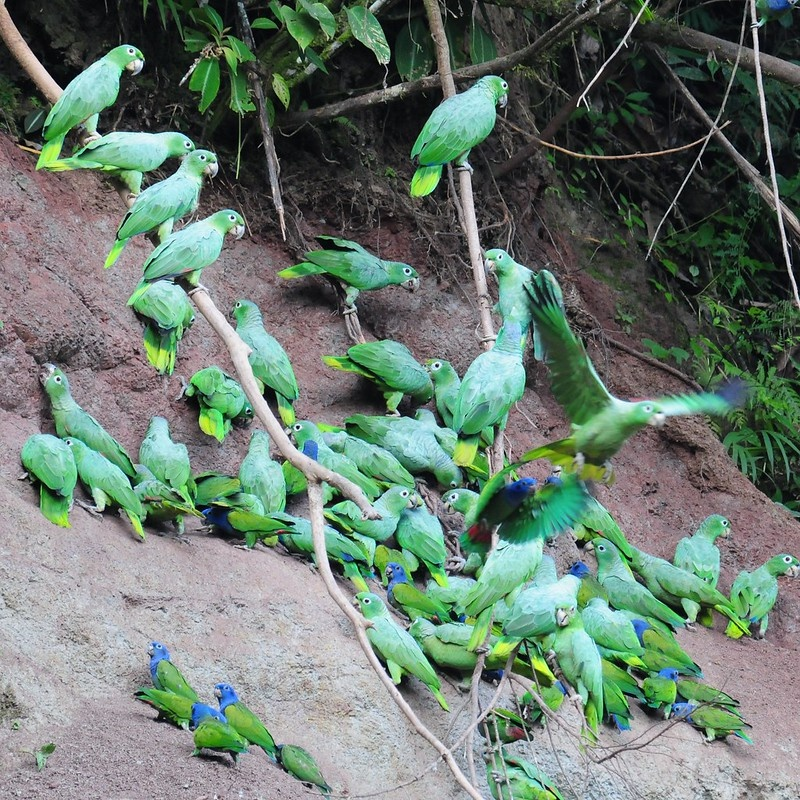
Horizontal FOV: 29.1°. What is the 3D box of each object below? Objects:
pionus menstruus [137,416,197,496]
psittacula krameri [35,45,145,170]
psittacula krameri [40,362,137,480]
[{"bbox_3d":[-1.407,0.329,9.242,0.309,0.451,0.307,-6,16,-14],"label":"pionus menstruus"},{"bbox_3d":[-1.697,-1.605,8.369,0.534,0.734,0.230,0,13,-30],"label":"psittacula krameri"},{"bbox_3d":[-1.819,0.096,9.125,0.476,0.717,0.550,1,14,11],"label":"psittacula krameri"}]
